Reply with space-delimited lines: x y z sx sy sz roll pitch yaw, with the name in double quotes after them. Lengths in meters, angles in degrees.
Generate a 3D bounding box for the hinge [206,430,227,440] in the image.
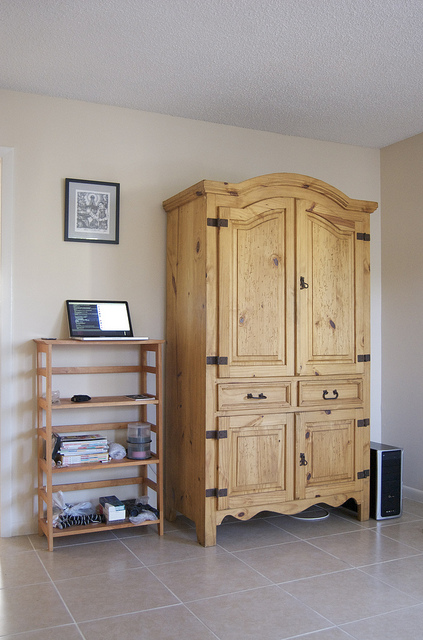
0.026 0.611 2.990 0.114 0.047 0.020 2 -4 -29 "hinge"

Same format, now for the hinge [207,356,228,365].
0.031 0.216 2.996 0.094 0.044 0.031 1 -1 -11 "hinge"

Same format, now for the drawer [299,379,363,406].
0.686 0.418 3.382 0.367 0.149 0.207 3 -1 -32 "drawer"

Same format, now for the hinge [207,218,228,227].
0.027 -0.520 3.012 0.119 0.047 0.014 2 -4 -24 "hinge"

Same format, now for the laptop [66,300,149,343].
-0.588 0.002 3.209 0.389 0.231 0.286 1 -1 -33 "laptop"

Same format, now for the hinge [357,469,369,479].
0.923 0.946 3.451 0.060 0.044 0.014 -3 -3 -17 "hinge"
